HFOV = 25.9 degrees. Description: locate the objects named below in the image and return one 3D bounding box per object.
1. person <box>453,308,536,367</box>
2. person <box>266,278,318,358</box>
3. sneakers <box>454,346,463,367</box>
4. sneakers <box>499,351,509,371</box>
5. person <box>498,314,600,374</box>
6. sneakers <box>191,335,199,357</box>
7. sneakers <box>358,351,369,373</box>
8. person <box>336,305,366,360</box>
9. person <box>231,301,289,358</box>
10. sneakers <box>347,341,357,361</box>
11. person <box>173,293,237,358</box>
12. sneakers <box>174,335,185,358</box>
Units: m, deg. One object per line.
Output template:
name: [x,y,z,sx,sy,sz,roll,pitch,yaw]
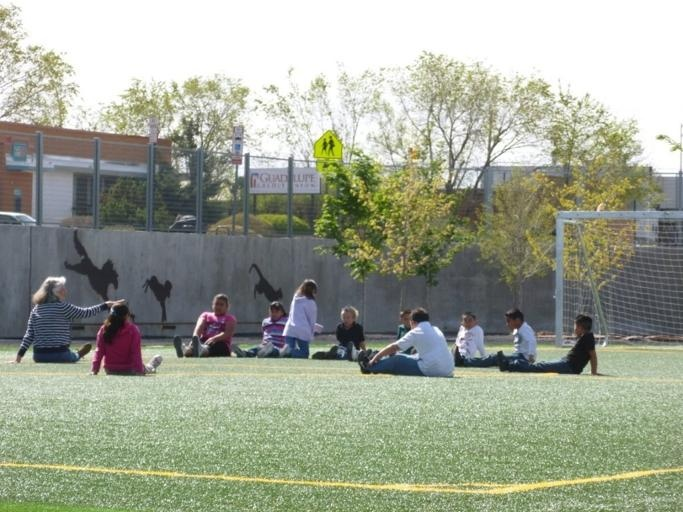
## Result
person: [3.635,1.965,34.118,2.020,1.167,1.050,-13,12,-43]
person: [-1.011,1.543,35.933,0.971,1.925,0.729,-1,11,-3]
sneakers: [2.764,2.375,34.624,0.206,0.387,0.122,-2,5,10]
sneakers: [3.743,2.449,33.980,0.211,0.516,0.178,-5,1,22]
person: [4.808,2.087,34.103,2.177,1.508,0.974,-1,-13,11]
sneakers: [-3.465,2.170,35.563,0.152,0.488,0.199,3,3,12]
sneakers: [0.528,2.394,33.240,0.168,0.534,0.204,3,-10,2]
person: [0.192,1.984,35.803,0.713,1.585,0.844,-1,13,11]
person: [-1.752,1.876,35.990,0.999,1.394,2.000,-1,7,17]
sneakers: [0.289,2.288,35.612,0.147,0.464,0.176,-3,-5,15]
person: [-3.180,1.713,35.633,0.901,1.558,2.064,0,-1,18]
sneakers: [-3.897,2.189,35.671,0.185,0.594,0.228,-1,14,7]
